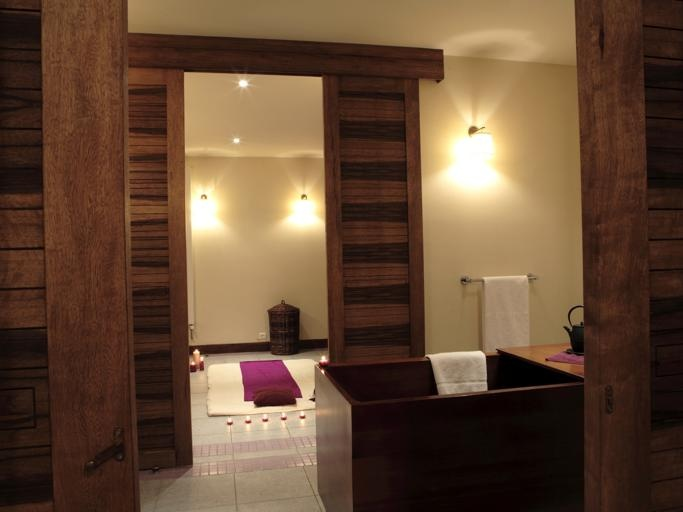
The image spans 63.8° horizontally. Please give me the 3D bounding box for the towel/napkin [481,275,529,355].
[{"bbox_3d":[1.177,0.413,3.901,0.344,0.520,0.050,-1,2,-10],"label":"towel/napkin"}]

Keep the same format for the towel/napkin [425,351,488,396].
[{"bbox_3d":[0.630,0.623,2.921,0.326,0.191,0.110,-1,2,-9],"label":"towel/napkin"}]
